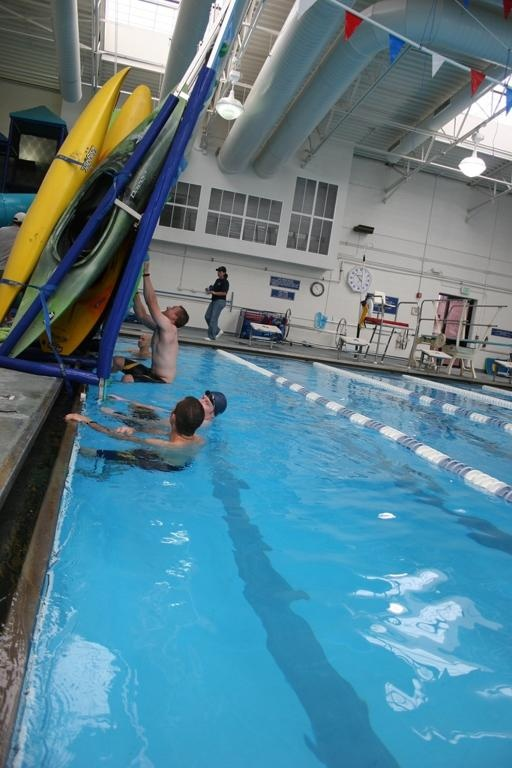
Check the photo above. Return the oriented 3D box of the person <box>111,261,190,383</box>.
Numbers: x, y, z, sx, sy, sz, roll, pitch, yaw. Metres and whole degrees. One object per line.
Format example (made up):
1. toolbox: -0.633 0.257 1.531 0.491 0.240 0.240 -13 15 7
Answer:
1. person: -1.019 -0.440 4.642 0.564 1.449 0.699 19 18 39

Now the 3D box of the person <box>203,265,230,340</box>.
1. person: -0.862 -1.757 10.781 0.447 1.599 1.456 11 8 -6

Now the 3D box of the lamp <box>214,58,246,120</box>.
1. lamp: -0.352 -4.839 8.098 0.361 1.044 0.356 10 1 -34

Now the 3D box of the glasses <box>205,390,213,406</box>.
1. glasses: -0.325 0.102 3.570 0.034 0.087 0.060 -25 27 -25

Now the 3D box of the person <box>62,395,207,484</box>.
1. person: -0.700 0.263 2.856 0.739 0.477 0.375 10 17 1

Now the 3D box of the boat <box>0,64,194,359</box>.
1. boat: -1.139 -1.114 3.456 0.805 1.932 0.864 8 9 -26

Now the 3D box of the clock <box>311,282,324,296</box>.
1. clock: 1.794 -2.699 14.256 0.442 0.444 0.101 7 9 -30

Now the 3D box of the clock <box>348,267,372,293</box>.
1. clock: 3.055 -3.036 14.528 0.545 0.565 0.077 46 -6 -19
